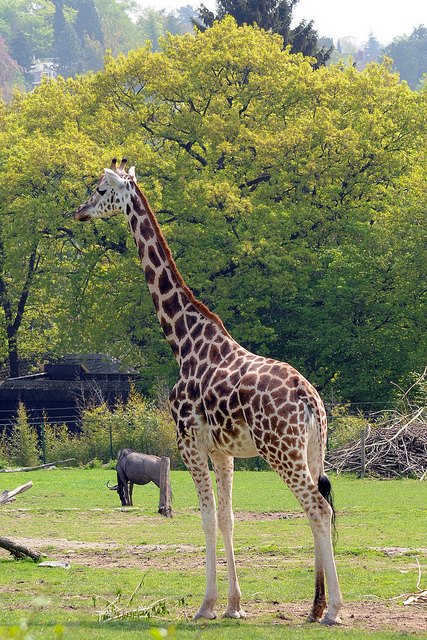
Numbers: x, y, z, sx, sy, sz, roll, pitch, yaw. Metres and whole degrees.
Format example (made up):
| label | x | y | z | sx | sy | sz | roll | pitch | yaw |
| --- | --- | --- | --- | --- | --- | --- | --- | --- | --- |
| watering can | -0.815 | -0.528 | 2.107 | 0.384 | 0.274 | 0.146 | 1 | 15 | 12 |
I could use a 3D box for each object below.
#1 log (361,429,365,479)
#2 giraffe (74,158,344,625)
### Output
| label | x | y | z | sx | sy | sz | roll | pitch | yaw |
| --- | --- | --- | --- | --- | --- | --- | --- | --- | --- |
| log | 4.023 | 3.534 | 41.961 | 0.098 | 1.294 | 0.663 | -1 | 7 | 5 |
| giraffe | 0.221 | 1.382 | 29.718 | 1.758 | 7.927 | 5.439 | -7 | 9 | -40 |
